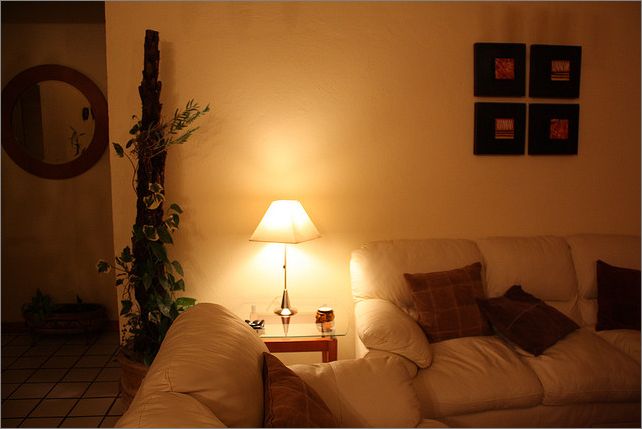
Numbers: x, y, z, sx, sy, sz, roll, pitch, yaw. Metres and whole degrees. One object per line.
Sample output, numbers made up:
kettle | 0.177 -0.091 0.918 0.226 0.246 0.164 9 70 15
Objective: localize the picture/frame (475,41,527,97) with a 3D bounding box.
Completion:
picture/frame | 1.582 -1.307 4.252 0.457 0.440 0.045 -4 3 -8

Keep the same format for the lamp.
lamp | -0.291 0.357 4.008 0.551 0.951 0.414 0 0 -2

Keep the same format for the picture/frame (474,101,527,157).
picture/frame | 1.595 -0.783 4.285 0.477 0.479 0.046 -1 2 -10

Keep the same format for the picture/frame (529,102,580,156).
picture/frame | 2.099 -0.787 4.332 0.466 0.470 0.036 -1 1 -8

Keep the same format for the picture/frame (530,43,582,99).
picture/frame | 2.097 -1.312 4.306 0.458 0.442 0.047 -4 7 -10
